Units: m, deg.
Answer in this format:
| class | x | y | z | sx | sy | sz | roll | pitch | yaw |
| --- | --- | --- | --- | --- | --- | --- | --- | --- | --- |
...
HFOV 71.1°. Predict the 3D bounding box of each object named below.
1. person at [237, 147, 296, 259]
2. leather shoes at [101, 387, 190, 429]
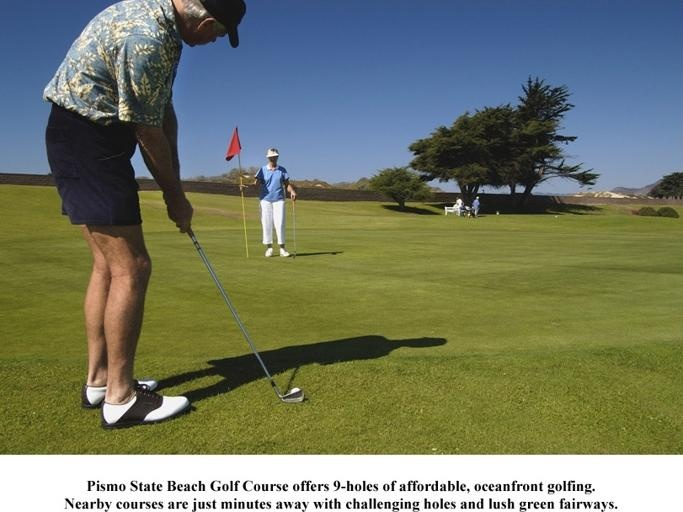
| class | x | y | z | sx | sy | sz | roll | pitch | yaw |
| --- | --- | --- | --- | --- | --- | --- | --- | --- | --- |
| person | -1.775 | -1.197 | 10.876 | 1.580 | 2.241 | 0.726 | -3 | 9 | -33 |
| leather shoes | -1.181 | 0.901 | 2.879 | 0.515 | 0.171 | 0.184 | -1 | -5 | -19 |
